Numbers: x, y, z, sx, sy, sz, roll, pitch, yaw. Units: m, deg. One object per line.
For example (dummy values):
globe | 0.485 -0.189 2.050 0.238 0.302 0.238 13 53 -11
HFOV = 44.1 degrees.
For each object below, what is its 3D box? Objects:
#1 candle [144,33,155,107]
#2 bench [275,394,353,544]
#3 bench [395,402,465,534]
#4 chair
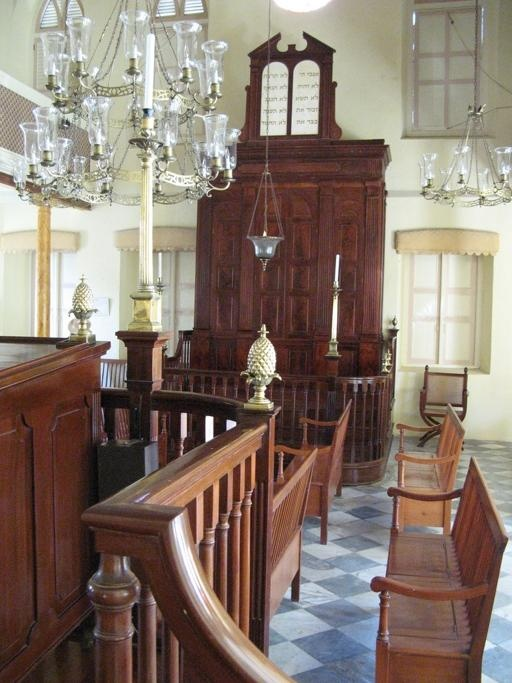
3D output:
candle | -0.435 -1.080 2.528 0.037 0.308 0.168 1 3 -11
bench | 0.439 0.918 4.520 0.433 0.704 1.087 2 3 13
bench | 1.340 0.939 4.797 0.352 0.545 1.024 2 2 11
chair | 2.302 0.797 7.722 0.642 0.888 0.574 3 6 23
